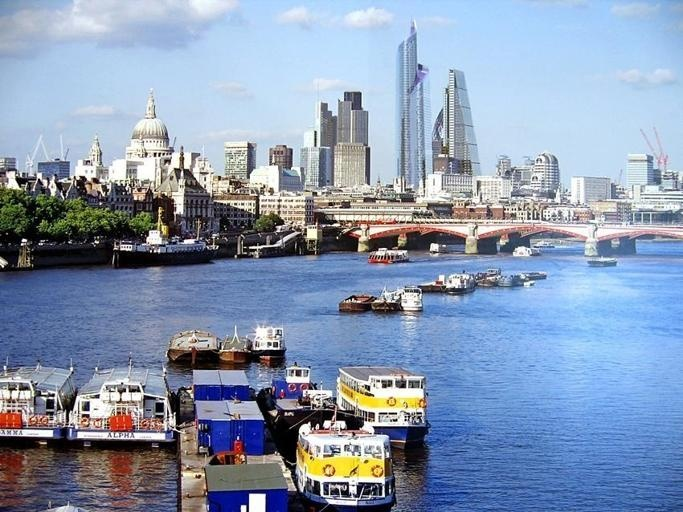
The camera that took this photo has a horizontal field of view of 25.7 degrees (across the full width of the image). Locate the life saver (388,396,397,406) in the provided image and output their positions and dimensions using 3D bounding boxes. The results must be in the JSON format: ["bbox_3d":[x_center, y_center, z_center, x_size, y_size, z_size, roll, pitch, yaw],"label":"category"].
[{"bbox_3d":[1.811,5.073,54.141,0.350,0.337,0.083,-2,1,-1],"label":"life saver"}]

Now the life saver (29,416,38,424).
[{"bbox_3d":[-11.061,5.737,53.718,0.262,0.252,0.069,-3,2,-5],"label":"life saver"}]

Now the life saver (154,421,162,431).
[{"bbox_3d":[-6.634,5.930,53.886,0.264,0.299,0.102,-2,-7,-6],"label":"life saver"}]

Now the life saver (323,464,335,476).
[{"bbox_3d":[-0.392,6.747,48.275,0.347,0.377,0.056,-1,0,-1],"label":"life saver"}]

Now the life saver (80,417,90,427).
[{"bbox_3d":[-9.242,5.818,53.860,0.334,0.322,0.206,-1,0,-10],"label":"life saver"}]

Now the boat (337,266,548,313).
[{"bbox_3d":[6.790,2.106,101.088,1.841,1.048,14.221,5,5,31],"label":"boat"}]

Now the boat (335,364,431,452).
[{"bbox_3d":[1.599,5.485,55.399,2.923,2.791,3.204,-1,-1,-10],"label":"boat"}]

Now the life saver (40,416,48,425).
[{"bbox_3d":[-10.697,5.756,53.775,0.254,0.333,0.177,-1,0,37],"label":"life saver"}]

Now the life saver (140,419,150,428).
[{"bbox_3d":[-7.060,5.874,53.899,0.227,0.284,0.104,-1,-41,-1],"label":"life saver"}]

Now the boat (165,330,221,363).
[{"bbox_3d":[-6.938,4.036,69.821,2.423,1.266,4.734,0,10,-7],"label":"boat"}]

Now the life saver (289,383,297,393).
[{"bbox_3d":[-1.888,4.916,57.619,0.307,0.295,0.072,1,-7,-1],"label":"life saver"}]
